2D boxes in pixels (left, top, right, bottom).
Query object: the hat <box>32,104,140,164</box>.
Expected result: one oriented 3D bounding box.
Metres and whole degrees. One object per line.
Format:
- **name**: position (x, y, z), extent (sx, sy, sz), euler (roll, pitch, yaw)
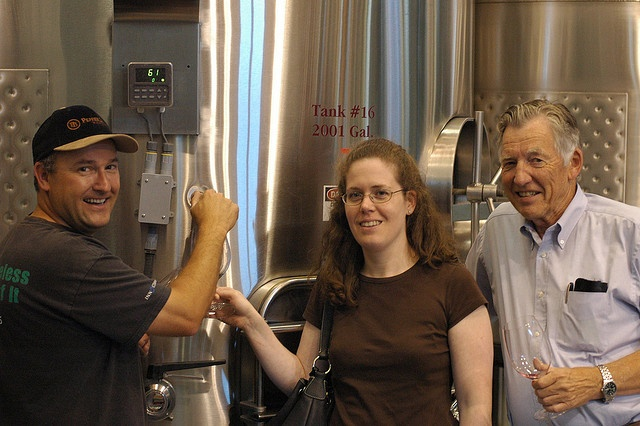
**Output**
- **hat**: position (-0.988, -0.296, 2.572), extent (0.330, 0.210, 0.266), euler (-24, -4, 21)
